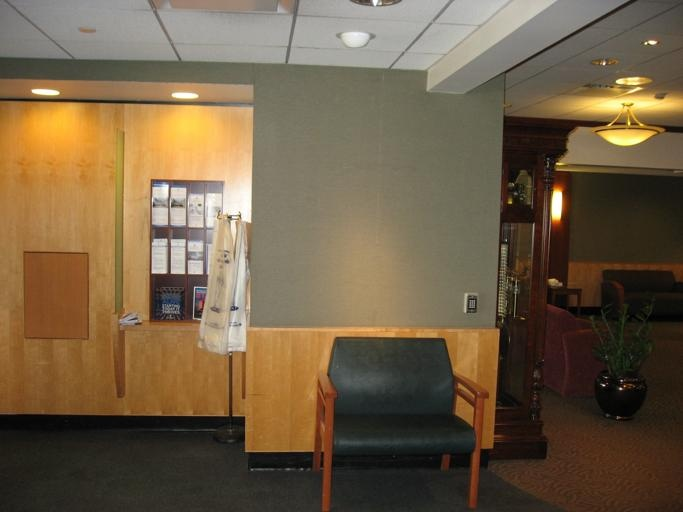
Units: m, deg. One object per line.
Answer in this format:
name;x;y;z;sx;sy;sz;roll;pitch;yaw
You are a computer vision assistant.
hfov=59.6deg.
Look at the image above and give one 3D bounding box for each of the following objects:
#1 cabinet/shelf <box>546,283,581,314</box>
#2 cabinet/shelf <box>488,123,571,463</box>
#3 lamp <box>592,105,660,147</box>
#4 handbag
cabinet/shelf;3.771;0.735;10.194;0.478;0.586;0.838;1;0;6
cabinet/shelf;1.780;0.303;5.696;0.680;3.176;0.813;3;12;7
lamp;3.309;-1.461;6.934;0.556;0.334;0.545;-1;3;-28
handbag;-1.096;0.267;5.635;0.465;1.263;0.387;5;12;13
